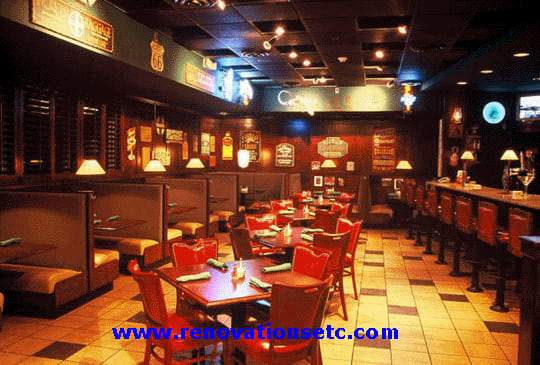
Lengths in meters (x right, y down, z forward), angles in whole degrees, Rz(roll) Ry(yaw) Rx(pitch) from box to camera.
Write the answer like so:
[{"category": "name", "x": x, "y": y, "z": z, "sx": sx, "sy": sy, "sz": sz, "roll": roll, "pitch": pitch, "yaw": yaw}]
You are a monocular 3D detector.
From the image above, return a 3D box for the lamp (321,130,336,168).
[{"category": "lamp", "x": 1.924, "y": -0.881, "z": 13.091, "sx": 0.503, "sy": 1.061, "sz": 1.316, "roll": 2, "pitch": 13, "yaw": 7}]

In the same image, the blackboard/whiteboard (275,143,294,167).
[{"category": "blackboard/whiteboard", "x": 0.540, "y": -0.971, "z": 13.966, "sx": 0.846, "sy": 0.903, "sz": 0.121, "roll": 0, "pitch": -1, "yaw": 11}]

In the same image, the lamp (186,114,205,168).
[{"category": "lamp", "x": -2.240, "y": -1.027, "z": 12.036, "sx": 0.523, "sy": 1.720, "sz": 2.315, "roll": -2, "pitch": 13, "yaw": -9}]

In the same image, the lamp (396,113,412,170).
[{"category": "lamp", "x": 4.315, "y": -1.257, "z": 12.878, "sx": 0.448, "sy": 1.803, "sz": 0.624, "roll": 1, "pitch": 14, "yaw": 4}]
